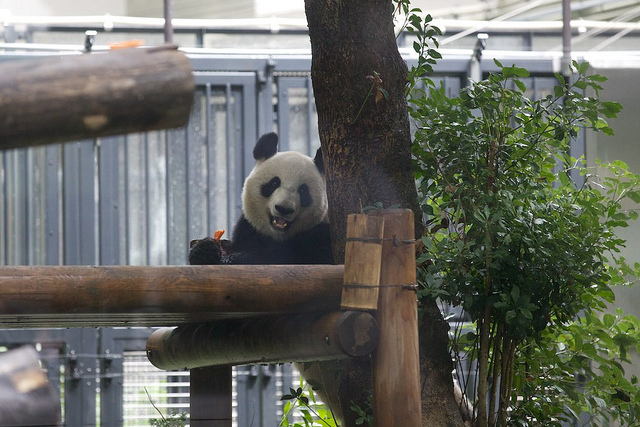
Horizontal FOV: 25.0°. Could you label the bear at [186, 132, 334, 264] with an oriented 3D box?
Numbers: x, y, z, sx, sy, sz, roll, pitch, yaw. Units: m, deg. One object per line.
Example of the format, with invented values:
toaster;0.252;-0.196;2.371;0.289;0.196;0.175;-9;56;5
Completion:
bear;-0.337;-0.120;11.131;0.816;0.906;0.433;-2;1;-3
